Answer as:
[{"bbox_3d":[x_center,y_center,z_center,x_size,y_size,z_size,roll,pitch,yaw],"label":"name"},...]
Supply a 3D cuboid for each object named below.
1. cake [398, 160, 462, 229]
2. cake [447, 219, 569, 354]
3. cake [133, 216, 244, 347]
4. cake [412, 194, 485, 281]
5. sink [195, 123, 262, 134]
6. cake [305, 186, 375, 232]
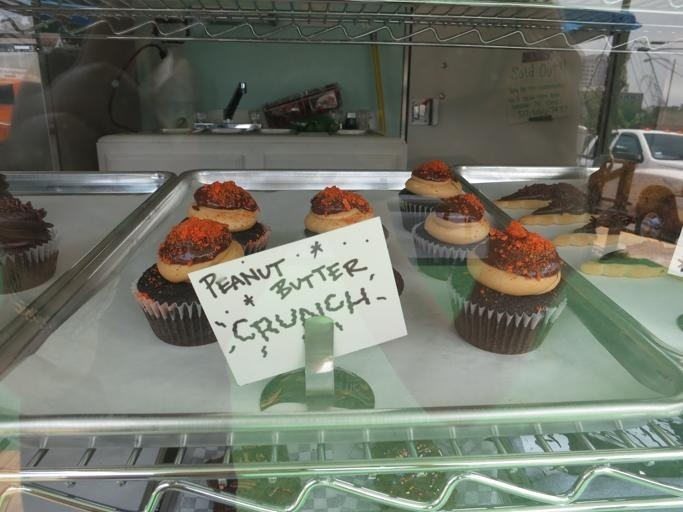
[{"bbox_3d":[0.232,-0.171,1.150,0.226,0.168,0.212,0,14,3],"label":"cake"},{"bbox_3d":[0.252,0.046,0.814,0.252,0.186,0.238,1,18,1],"label":"cake"},{"bbox_3d":[-0.277,0.036,0.842,0.237,0.161,0.259,-3,17,-9],"label":"cake"},{"bbox_3d":[0.225,-0.044,0.988,0.210,0.154,0.197,-1,24,-7],"label":"cake"},{"bbox_3d":[-0.810,-0.913,3.055,0.452,0.075,0.231,-6,24,-9],"label":"sink"},{"bbox_3d":[-0.011,-0.107,1.002,0.155,0.068,0.131,-6,19,-1],"label":"cake"}]
